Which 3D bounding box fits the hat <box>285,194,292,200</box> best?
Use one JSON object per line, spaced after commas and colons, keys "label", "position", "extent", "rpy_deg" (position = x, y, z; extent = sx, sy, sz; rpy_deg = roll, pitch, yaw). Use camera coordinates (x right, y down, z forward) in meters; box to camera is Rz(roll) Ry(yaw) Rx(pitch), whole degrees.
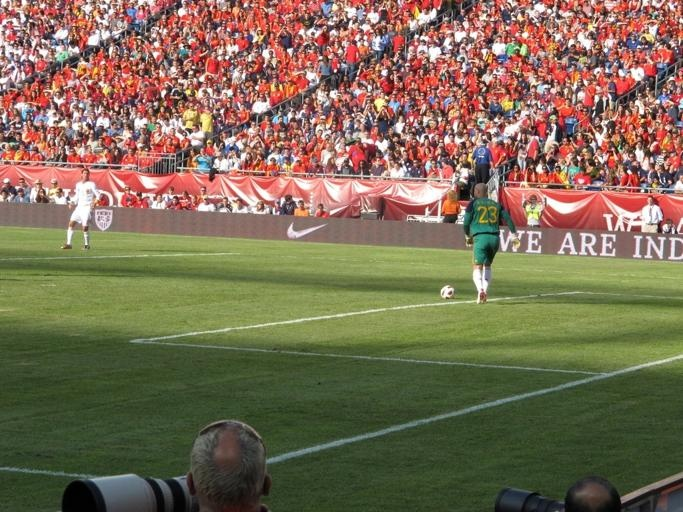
{"label": "hat", "position": [-1.622, -1.822, 35.832], "extent": [0.187, 0.153, 0.179], "rpy_deg": [1, -24, -2]}

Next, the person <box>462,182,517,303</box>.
{"label": "person", "position": [2.484, -0.214, 19.151], "extent": [0.838, 2.102, 1.513], "rpy_deg": [0, -5, 8]}

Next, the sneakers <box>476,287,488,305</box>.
{"label": "sneakers", "position": [2.280, 0.661, 18.505], "extent": [0.173, 0.250, 0.368], "rpy_deg": [0, -5, 6]}

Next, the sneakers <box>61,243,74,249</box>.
{"label": "sneakers", "position": [-6.477, -0.200, 26.956], "extent": [0.297, 0.112, 0.111], "rpy_deg": [3, 1, 38]}
